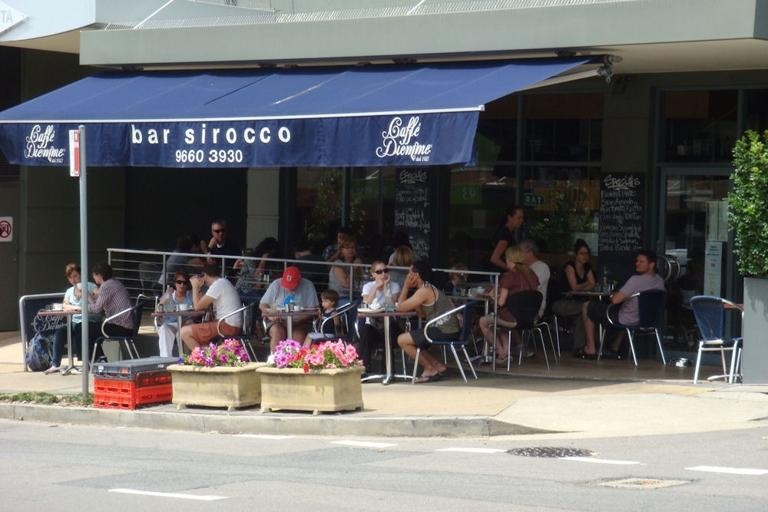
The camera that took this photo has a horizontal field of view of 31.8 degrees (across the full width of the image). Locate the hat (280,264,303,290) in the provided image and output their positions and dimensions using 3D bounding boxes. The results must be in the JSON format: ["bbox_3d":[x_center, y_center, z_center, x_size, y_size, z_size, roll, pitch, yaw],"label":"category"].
[{"bbox_3d":[-1.467,0.367,21.199,0.325,0.367,0.269,-1,-1,-8],"label":"hat"}]

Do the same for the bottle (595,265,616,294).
[{"bbox_3d":[3.763,0.425,22.844,0.374,0.742,0.393,-2,3,0],"label":"bottle"}]

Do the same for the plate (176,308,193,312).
[{"bbox_3d":[-3.139,0.839,21.069,0.229,0.070,0.316,-1,-1,-11],"label":"plate"}]

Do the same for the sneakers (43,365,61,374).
[{"bbox_3d":[-5.398,1.865,21.871,0.254,0.118,0.098,0,-5,16],"label":"sneakers"}]

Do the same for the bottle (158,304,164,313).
[{"bbox_3d":[-3.548,0.851,21.368,0.130,0.153,0.131,0,-10,1],"label":"bottle"}]

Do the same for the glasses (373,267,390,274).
[{"bbox_3d":[-0.055,0.238,20.596,0.212,0.114,0.183,-1,-1,-9],"label":"glasses"}]

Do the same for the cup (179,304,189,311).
[{"bbox_3d":[-3.147,0.813,21.139,0.097,0.078,0.101,3,0,0],"label":"cup"}]

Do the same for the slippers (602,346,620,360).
[{"bbox_3d":[3.789,1.663,22.557,0.371,0.160,0.131,3,2,17],"label":"slippers"}]
